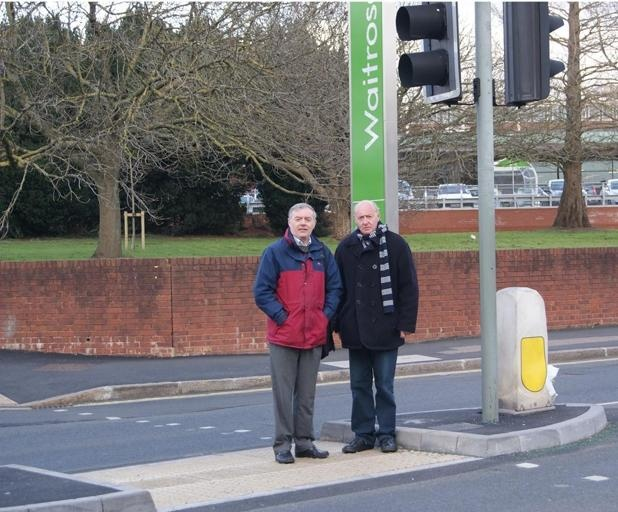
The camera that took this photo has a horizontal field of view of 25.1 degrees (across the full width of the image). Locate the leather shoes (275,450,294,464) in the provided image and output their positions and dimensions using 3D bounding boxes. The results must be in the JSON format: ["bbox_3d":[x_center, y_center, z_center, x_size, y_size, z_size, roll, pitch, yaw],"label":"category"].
[{"bbox_3d":[-0.321,2.818,19.310,0.114,0.144,0.315,1,-9,-21],"label":"leather shoes"}]

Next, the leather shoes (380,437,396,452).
[{"bbox_3d":[1.124,2.679,19.584,0.207,0.163,0.149,-3,1,-11],"label":"leather shoes"}]

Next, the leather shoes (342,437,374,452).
[{"bbox_3d":[0.709,2.691,19.733,0.516,0.231,0.178,1,4,-22],"label":"leather shoes"}]

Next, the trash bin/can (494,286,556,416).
[{"bbox_3d":[3.149,1.415,20.765,0.767,1.810,0.576,-4,4,-38],"label":"trash bin/can"}]

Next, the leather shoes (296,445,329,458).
[{"bbox_3d":[0.041,2.769,19.438,0.395,0.186,0.195,-1,1,2],"label":"leather shoes"}]
